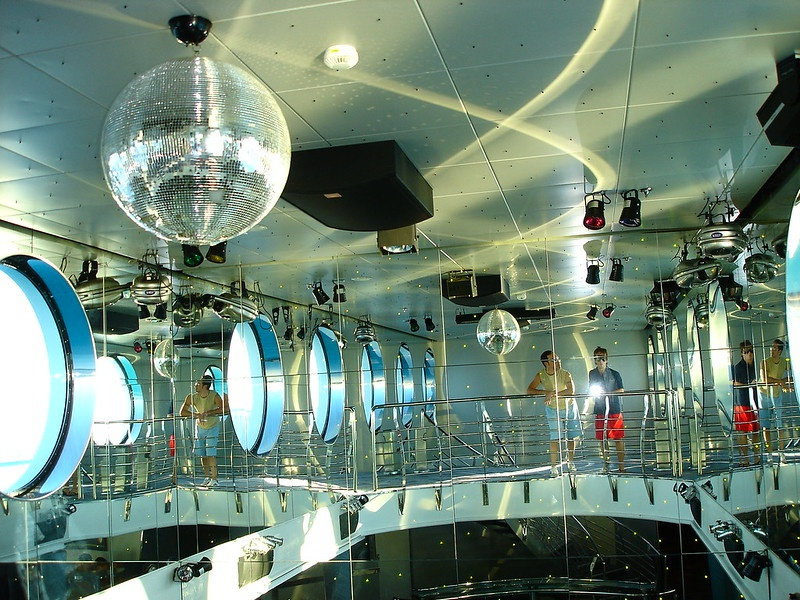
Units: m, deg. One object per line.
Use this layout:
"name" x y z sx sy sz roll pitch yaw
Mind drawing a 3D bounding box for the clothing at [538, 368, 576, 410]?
"clothing" 1.568 0.896 6.848 0.373 0.336 0.197 -6 -19 13

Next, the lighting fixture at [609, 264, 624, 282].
"lighting fixture" 2.258 -0.281 7.217 0.151 0.207 0.070 -12 -11 27

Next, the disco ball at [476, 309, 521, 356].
"disco ball" 1.042 0.346 7.289 0.492 0.494 0.464 -2 -3 0

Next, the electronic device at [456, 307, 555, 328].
"electronic device" 1.192 0.166 7.101 1.295 0.164 0.239 -2 -8 25

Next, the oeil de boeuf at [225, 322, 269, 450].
"oeil de boeuf" -1.735 0.955 7.730 0.438 1.588 0.051 2 -10 -38

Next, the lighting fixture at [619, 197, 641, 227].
"lighting fixture" 2.027 -0.771 6.103 0.183 0.254 0.215 -10 -10 17

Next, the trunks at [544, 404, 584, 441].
"trunks" 1.614 1.207 6.751 0.322 0.380 0.208 -5 -19 9

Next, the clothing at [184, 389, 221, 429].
"clothing" -2.174 1.225 7.638 0.441 0.442 0.270 -4 -7 4

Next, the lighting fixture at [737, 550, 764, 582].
"lighting fixture" 3.242 2.454 6.363 0.224 0.241 0.087 -13 -11 33

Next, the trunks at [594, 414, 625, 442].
"trunks" 2.032 1.248 6.674 0.275 0.237 0.143 0 -15 3

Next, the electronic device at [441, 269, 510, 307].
"electronic device" 0.774 -0.125 7.428 0.580 0.205 0.460 0 -15 17

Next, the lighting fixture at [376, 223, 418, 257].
"lighting fixture" -0.017 -0.567 6.582 0.310 0.206 0.287 -3 -15 -8

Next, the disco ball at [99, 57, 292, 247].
"disco ball" -0.905 -0.624 3.435 0.851 0.903 0.869 0 -2 0

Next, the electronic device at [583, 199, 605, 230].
"electronic device" 1.720 -0.761 6.127 0.231 0.287 0.190 1 -45 12
